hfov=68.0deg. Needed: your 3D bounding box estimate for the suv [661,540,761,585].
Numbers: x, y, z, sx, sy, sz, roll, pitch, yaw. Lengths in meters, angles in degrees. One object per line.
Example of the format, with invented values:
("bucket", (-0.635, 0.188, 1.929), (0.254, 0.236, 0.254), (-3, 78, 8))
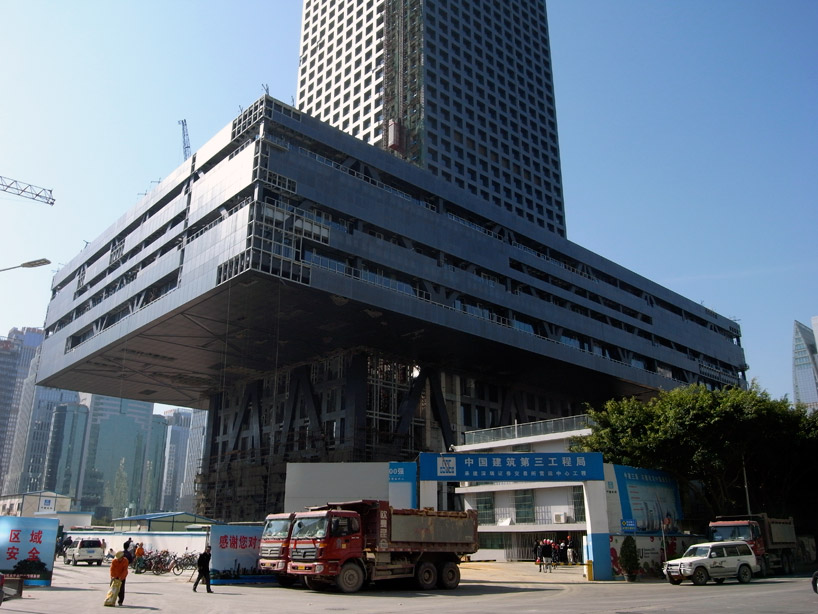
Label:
("suv", (17.526, 14.701, 34.943), (5.340, 2.179, 1.905), (5, -21, -16))
